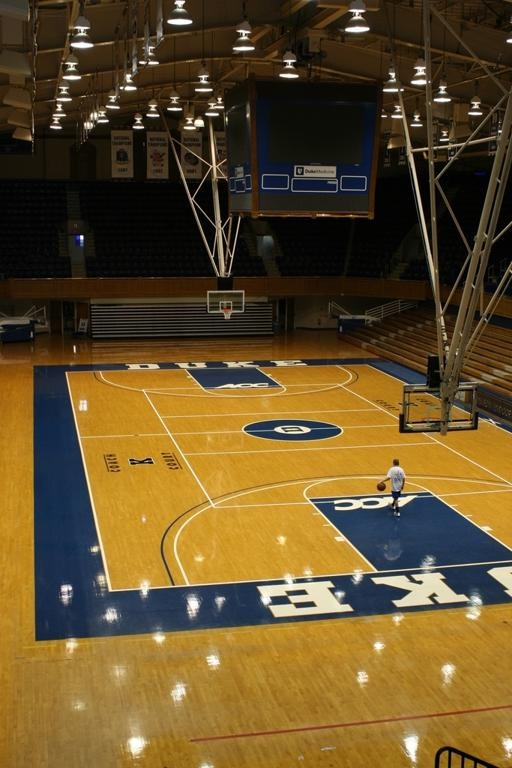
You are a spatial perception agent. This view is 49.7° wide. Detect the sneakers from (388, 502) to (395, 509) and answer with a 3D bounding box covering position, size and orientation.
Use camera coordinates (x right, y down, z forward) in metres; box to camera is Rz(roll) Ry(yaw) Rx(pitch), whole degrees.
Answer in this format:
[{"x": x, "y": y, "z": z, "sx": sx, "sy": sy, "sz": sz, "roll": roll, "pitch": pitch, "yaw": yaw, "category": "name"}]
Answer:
[{"x": 2.897, "y": 2.576, "z": 11.726, "sx": 0.103, "sy": 0.096, "sz": 0.135, "roll": 0, "pitch": 3, "yaw": 8, "category": "sneakers"}]
